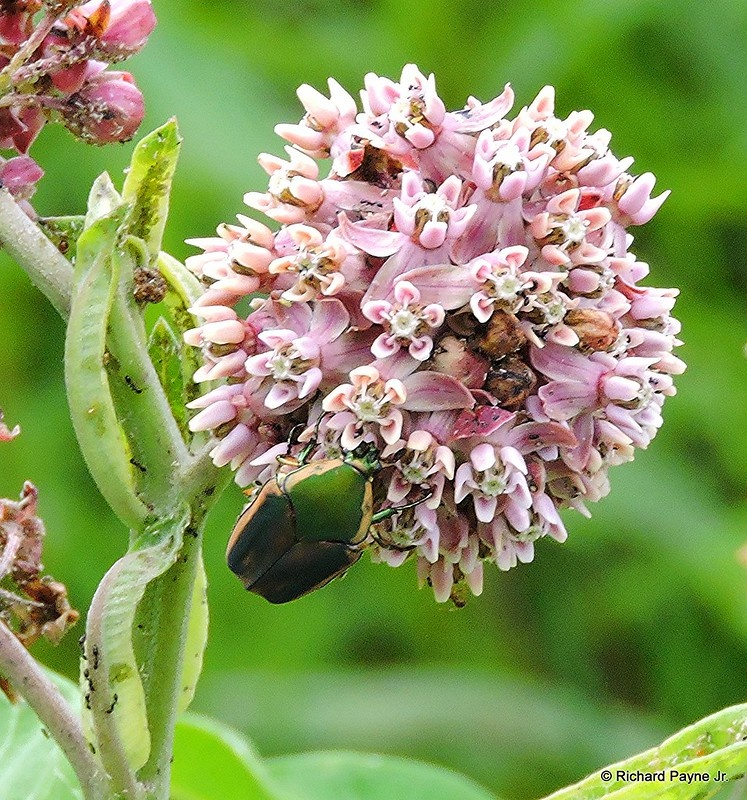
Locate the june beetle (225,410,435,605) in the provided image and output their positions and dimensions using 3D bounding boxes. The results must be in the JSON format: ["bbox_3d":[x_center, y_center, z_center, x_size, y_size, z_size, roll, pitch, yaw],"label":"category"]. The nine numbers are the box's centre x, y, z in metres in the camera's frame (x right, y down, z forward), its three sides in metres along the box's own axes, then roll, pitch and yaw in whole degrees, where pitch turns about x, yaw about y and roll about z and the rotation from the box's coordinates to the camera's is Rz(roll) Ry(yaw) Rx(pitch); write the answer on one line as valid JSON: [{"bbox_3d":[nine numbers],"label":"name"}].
[{"bbox_3d":[-0.065,0.124,1.161,0.128,0.077,0.216,27,-65,-8],"label":"june beetle"}]

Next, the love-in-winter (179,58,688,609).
[{"bbox_3d":[0.043,-0.084,1.340,0.527,0.434,0.618,0,-92,-5],"label":"love-in-winter"}]
